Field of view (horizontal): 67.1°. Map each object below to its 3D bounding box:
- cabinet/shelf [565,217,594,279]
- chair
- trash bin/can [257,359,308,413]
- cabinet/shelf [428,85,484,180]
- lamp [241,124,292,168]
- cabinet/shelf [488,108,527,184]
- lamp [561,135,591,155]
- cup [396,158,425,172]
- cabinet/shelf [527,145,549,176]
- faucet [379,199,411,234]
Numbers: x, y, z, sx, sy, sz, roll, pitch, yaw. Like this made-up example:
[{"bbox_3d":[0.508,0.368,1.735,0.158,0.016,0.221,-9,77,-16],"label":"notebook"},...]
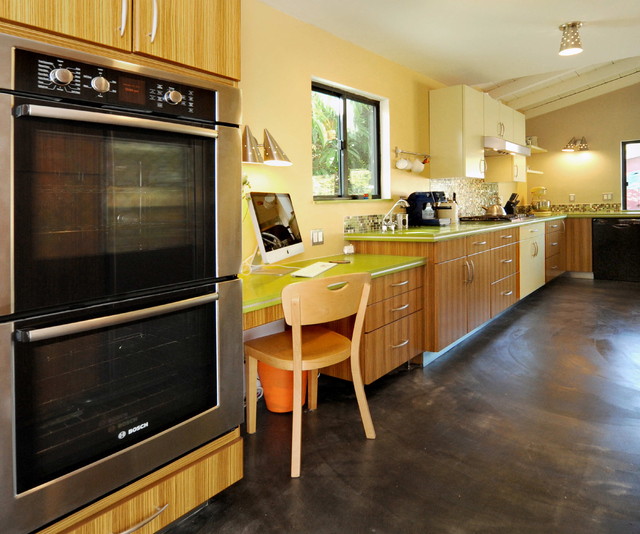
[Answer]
[{"bbox_3d":[3.595,-0.324,6.668,0.357,0.770,0.112,3,11,27],"label":"cabinet/shelf"},{"bbox_3d":[-0.060,0.425,2.332,0.658,0.845,0.711,-1,10,3],"label":"chair"},{"bbox_3d":[-0.242,0.635,2.684,0.299,0.244,0.277,2,-2,-17],"label":"trash bin/can"},{"bbox_3d":[1.389,-1.282,4.649,0.585,0.835,0.346,-6,11,-23],"label":"cabinet/shelf"},{"bbox_3d":[-0.325,-0.694,2.743,0.286,0.222,0.361,-4,10,-15],"label":"lamp"},{"bbox_3d":[2.122,-1.369,5.483,0.293,0.781,0.903,-1,2,24],"label":"cabinet/shelf"},{"bbox_3d":[3.646,-1.733,6.828,0.380,0.237,0.172,3,8,18],"label":"lamp"},{"bbox_3d":[0.785,-0.892,4.194,0.220,0.133,0.100,4,-4,-16],"label":"cup"},{"bbox_3d":[3.208,-1.561,7.043,0.260,0.508,0.524,0,0,25],"label":"cabinet/shelf"},{"bbox_3d":[0.637,-0.448,4.090,0.186,0.241,0.625,2,10,20],"label":"faucet"}]
